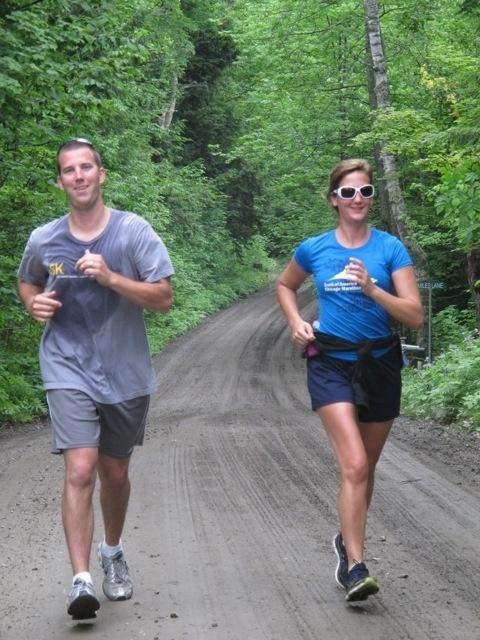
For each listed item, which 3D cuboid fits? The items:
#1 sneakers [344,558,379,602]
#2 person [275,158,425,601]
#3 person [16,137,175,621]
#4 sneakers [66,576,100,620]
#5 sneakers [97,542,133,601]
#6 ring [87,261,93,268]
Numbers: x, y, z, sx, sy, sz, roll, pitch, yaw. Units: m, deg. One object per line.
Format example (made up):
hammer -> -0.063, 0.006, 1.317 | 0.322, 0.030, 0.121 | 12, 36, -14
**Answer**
sneakers -> 0.520, 1.150, 3.024 | 0.115, 0.198, 0.183 | -1, -1, -13
person -> 0.568, 0.249, 3.362 | 0.583, 2.095, 0.781 | -1, -1, -13
person -> -0.679, 0.255, 3.118 | 0.688, 2.119, 0.573 | -3, -1, 39
sneakers -> -0.632, 1.126, 2.841 | 0.110, 0.240, 0.107 | 0, 53, -11
sneakers -> -0.598, 1.191, 3.351 | 0.118, 0.113, 0.293 | -4, 32, -21
ring -> -0.591, -0.216, 2.773 | 0.027, 0.027, 0.008 | 1, 4, 11
